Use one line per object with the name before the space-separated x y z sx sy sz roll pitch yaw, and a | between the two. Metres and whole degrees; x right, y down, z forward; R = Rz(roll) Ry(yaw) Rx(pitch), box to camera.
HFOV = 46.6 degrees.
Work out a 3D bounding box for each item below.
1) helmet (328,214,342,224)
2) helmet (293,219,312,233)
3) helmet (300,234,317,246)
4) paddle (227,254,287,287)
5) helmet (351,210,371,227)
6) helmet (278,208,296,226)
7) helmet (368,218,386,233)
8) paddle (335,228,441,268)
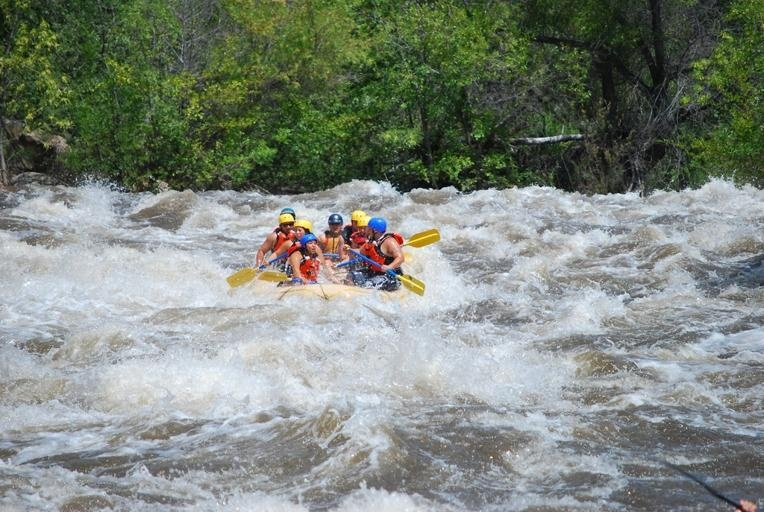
helmet | -0.933 -0.751 17.944 0.272 0.229 0.215 -8 8 -20
helmet | -1.587 -0.602 17.747 0.316 0.147 0.233 18 -2 -1
helmet | -1.438 -0.303 16.977 0.370 0.247 0.214 8 10 21
paddle | -2.368 0.402 16.792 1.446 0.175 0.420 -24 13 5
helmet | -0.467 -0.773 18.202 0.296 0.208 0.404 11 1 -5
helmet | -1.929 -0.775 17.913 0.307 0.310 0.401 1 -17 -24
helmet | -0.075 -0.644 17.828 0.342 0.270 0.258 35 28 30
paddle | 0.056 -0.143 17.917 1.941 0.363 0.146 -20 12 0
